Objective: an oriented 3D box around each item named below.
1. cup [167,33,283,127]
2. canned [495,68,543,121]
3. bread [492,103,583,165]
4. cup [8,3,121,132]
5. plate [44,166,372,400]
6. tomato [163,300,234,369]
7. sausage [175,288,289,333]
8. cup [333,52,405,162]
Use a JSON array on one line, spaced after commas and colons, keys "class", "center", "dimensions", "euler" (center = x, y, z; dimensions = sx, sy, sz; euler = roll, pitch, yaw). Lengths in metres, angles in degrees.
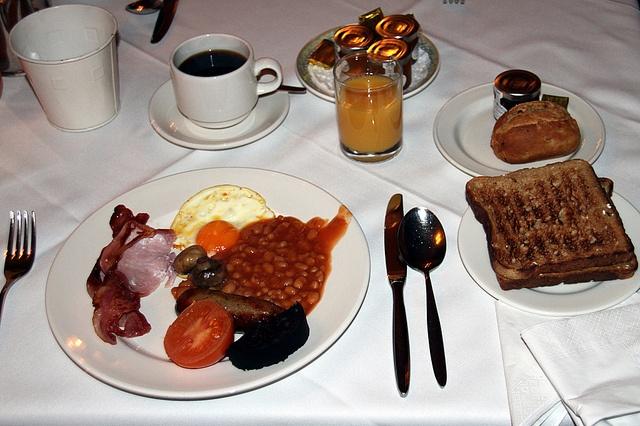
[{"class": "cup", "center": [-0.476, -0.604, 2.276], "dimensions": [0.462, 0.265, 0.395], "euler": [28, 63, 14]}, {"class": "canned", "center": [0.878, -0.523, 2.194], "dimensions": [0.199, 0.166, 0.189], "euler": [-6, 58, 8]}, {"class": "bread", "center": [0.908, -0.348, 2.069], "dimensions": [0.331, 0.162, 0.246], "euler": [-2, 59, -3]}, {"class": "cup", "center": [-1.176, -0.714, 2.361], "dimensions": [0.477, 0.364, 0.522], "euler": [1, 59, -1]}, {"class": "plate", "center": [-0.410, 0.201, 1.784], "dimensions": [1.152, 0.145, 0.940], "euler": [-15, 60, -10]}, {"class": "tomato", "center": [-0.433, 0.406, 1.657], "dimensions": [0.214, 0.081, 0.219], "euler": [-40, 112, -33]}, {"class": "sausage", "center": [-0.293, 0.326, 1.747], "dimensions": [0.428, 0.142, 0.124], "euler": [11, 85, 10]}, {"class": "cup", "center": [0.215, -0.487, 2.243], "dimensions": [0.402, 0.476, 0.457], "euler": [-3, 48, 5]}]
